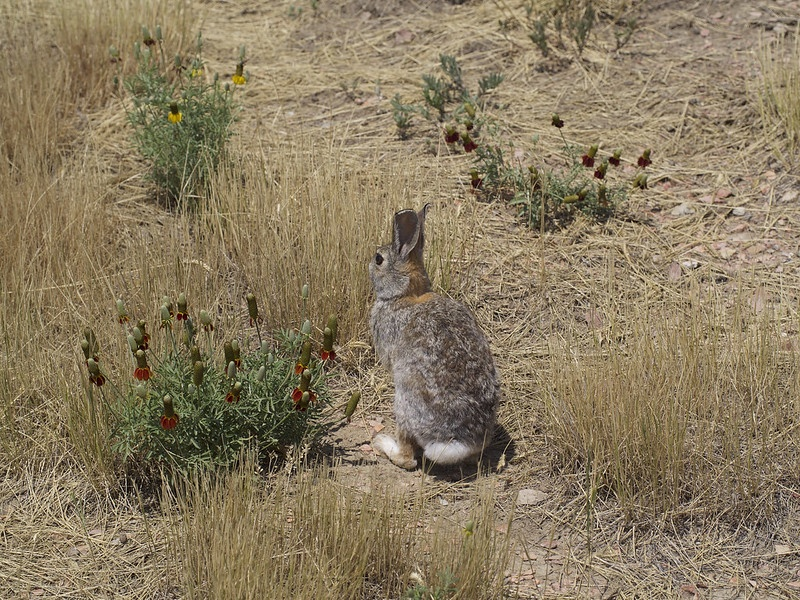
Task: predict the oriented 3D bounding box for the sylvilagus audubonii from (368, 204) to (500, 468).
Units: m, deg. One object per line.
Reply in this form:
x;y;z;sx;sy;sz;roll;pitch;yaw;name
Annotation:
0.165;0.270;6.384;0.856;1.274;1.230;-14;36;-15;sylvilagus audubonii

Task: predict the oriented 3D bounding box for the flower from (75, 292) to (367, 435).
-1.159;0.505;5.860;1.173;0.592;1.107;3;17;-5;flower
